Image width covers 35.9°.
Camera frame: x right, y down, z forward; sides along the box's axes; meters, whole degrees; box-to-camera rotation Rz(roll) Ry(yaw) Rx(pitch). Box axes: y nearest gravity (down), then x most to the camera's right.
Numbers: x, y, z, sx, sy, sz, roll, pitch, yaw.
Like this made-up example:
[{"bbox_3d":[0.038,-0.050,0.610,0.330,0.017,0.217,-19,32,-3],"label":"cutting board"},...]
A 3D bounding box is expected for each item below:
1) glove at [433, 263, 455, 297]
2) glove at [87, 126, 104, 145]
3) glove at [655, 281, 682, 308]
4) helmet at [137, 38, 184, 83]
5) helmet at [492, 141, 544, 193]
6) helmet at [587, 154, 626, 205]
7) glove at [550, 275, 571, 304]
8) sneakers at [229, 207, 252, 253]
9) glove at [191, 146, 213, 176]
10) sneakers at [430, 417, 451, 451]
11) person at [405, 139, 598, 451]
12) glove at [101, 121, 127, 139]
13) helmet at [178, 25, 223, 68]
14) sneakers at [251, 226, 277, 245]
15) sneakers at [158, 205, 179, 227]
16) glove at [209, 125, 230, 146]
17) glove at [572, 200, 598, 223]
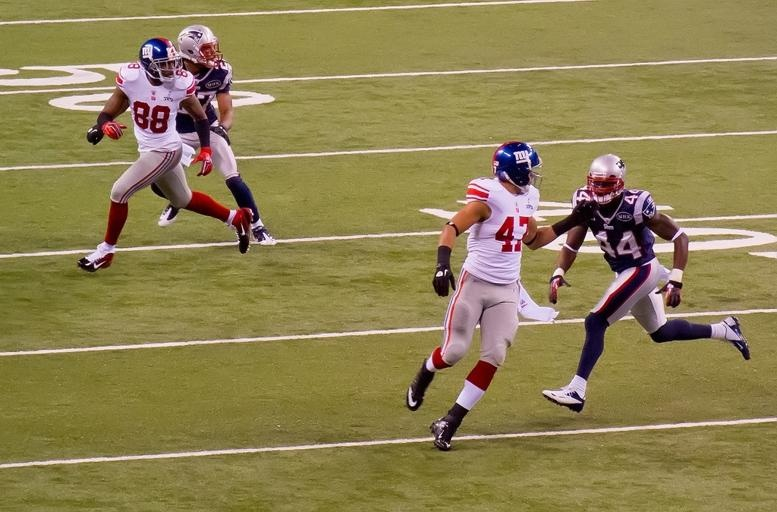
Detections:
[{"bbox_3d":[0.462,0.208,9.716,0.162,0.293,0.292,3,15,4],"label":"glove"},{"bbox_3d":[-3.035,-1.258,12.466,0.141,0.196,0.369,-2,14,-13],"label":"glove"},{"bbox_3d":[2.488,0.331,10.616,0.208,0.288,0.311,4,15,10],"label":"glove"},{"bbox_3d":[-2.354,-2.069,12.353,0.412,0.376,0.535,-26,49,-35],"label":"helmet"},{"bbox_3d":[1.048,-0.795,10.168,0.595,0.380,0.362,-2,13,-9],"label":"helmet"},{"bbox_3d":[1.896,-0.682,10.505,0.405,0.330,0.468,7,32,28],"label":"helmet"},{"bbox_3d":[1.662,0.335,11.573,0.136,0.289,0.226,24,18,10],"label":"glove"},{"bbox_3d":[-1.559,-0.279,13.152,0.308,0.491,0.179,-7,36,3],"label":"sneakers"},{"bbox_3d":[-2.027,-1.016,12.765,0.136,0.255,0.317,3,56,28],"label":"glove"},{"bbox_3d":[0.442,1.455,9.950,0.180,0.281,0.229,2,15,2],"label":"sneakers"},{"bbox_3d":[0.762,0.320,10.010,1.224,2.484,0.660,-14,23,-43],"label":"person"},{"bbox_3d":[-2.807,-1.286,12.258,0.209,0.178,0.301,-2,14,-13],"label":"glove"},{"bbox_3d":[-2.128,-2.371,13.454,0.616,0.337,0.360,4,19,-6],"label":"helmet"},{"bbox_3d":[-1.346,-0.218,13.638,0.415,0.148,0.121,17,49,12],"label":"sneakers"},{"bbox_3d":[-2.487,-0.461,13.781,0.196,0.121,0.403,2,-20,-36],"label":"sneakers"},{"bbox_3d":[-1.880,-1.370,13.578,0.078,0.246,0.178,-37,30,26],"label":"glove"},{"bbox_3d":[1.720,-0.385,10.401,0.285,0.123,0.073,-5,-5,-23],"label":"glove"}]
